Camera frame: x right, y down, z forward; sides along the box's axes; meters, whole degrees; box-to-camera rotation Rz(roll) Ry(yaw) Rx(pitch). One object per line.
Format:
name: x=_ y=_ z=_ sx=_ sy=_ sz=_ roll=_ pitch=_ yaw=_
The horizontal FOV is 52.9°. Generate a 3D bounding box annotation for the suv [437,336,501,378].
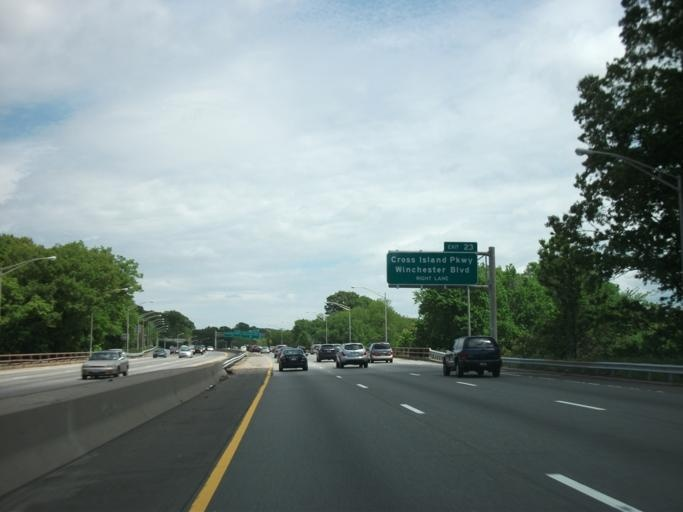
suv: x=6.649 y=4.971 z=33.457 sx=2.561 sy=2.193 sz=3.701 roll=3 pitch=-4 yaw=-5

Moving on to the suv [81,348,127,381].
suv: x=-12.981 y=5.994 z=38.129 sx=1.289 sy=1.009 sz=2.744 roll=-1 pitch=-16 yaw=-1
